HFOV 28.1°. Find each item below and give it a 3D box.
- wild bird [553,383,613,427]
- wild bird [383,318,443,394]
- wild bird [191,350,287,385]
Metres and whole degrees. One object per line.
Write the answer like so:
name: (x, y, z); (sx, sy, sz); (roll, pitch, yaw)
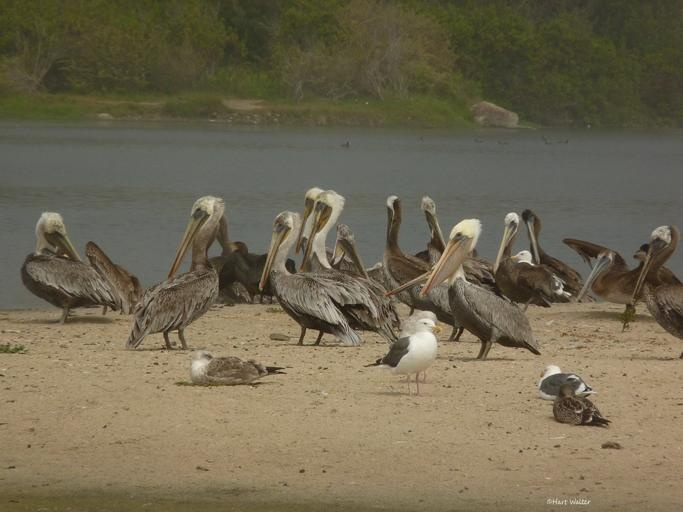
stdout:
wild bird: (4.608, 2.997, 26.742); (0.759, 0.693, 1.330); (-11, 15, -23)
wild bird: (1.430, 2.004, 27.772); (0.988, 1.539, 0.874); (10, 11, 27)
wild bird: (-2.205, 2.301, 27.889); (1.612, 0.546, 0.779); (1, -7, -1)
